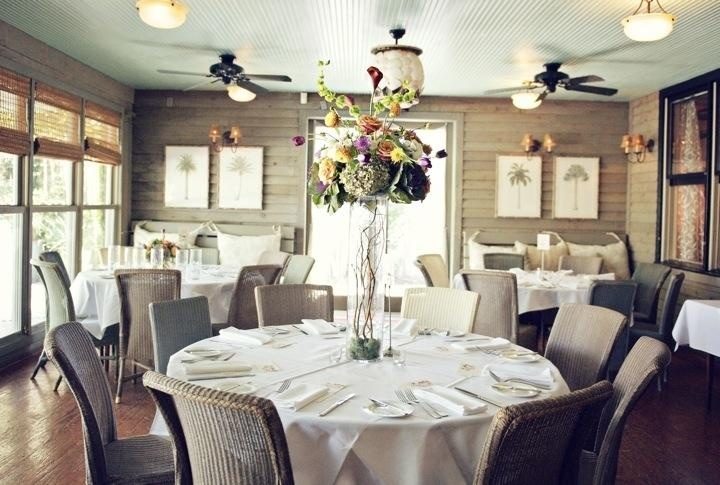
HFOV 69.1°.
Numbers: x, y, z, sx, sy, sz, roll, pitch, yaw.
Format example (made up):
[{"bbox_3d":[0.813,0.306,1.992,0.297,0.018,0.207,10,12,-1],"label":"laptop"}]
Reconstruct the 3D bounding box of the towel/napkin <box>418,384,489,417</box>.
[{"bbox_3d":[0.435,0.769,2.549,0.132,0.045,0.214,2,0,-38],"label":"towel/napkin"}]

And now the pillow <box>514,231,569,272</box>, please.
[{"bbox_3d":[2.402,0.132,6.988,0.509,0.520,0.289,0,-13,0],"label":"pillow"}]

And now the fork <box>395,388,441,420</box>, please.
[{"bbox_3d":[0.269,0.777,2.546,0.072,0.043,0.293,-2,8,-23],"label":"fork"}]

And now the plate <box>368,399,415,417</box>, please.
[{"bbox_3d":[0.139,0.788,2.488,0.219,0.045,0.134,-1,-2,9],"label":"plate"}]

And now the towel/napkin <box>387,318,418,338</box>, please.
[{"bbox_3d":[0.279,0.563,3.467,0.152,0.047,0.116,6,15,10],"label":"towel/napkin"}]

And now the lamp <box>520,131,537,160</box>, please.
[{"bbox_3d":[2.387,-1.384,7.428,0.239,0.277,0.300,-2,-4,44],"label":"lamp"}]

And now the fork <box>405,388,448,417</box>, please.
[{"bbox_3d":[0.307,0.777,2.506,0.064,0.054,0.367,-6,4,-16],"label":"fork"}]

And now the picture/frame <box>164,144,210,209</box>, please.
[{"bbox_3d":[-2.455,-0.950,7.499,0.637,0.727,0.056,-1,1,2],"label":"picture/frame"}]

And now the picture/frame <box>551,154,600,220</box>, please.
[{"bbox_3d":[3.071,-0.806,7.529,0.940,1.227,0.087,0,1,-3],"label":"picture/frame"}]

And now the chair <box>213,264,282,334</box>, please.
[{"bbox_3d":[-1.012,0.480,4.744,0.557,0.795,0.480,2,-1,36],"label":"chair"}]

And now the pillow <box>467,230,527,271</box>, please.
[{"bbox_3d":[1.822,0.106,7.143,0.637,0.608,0.610,0,-6,4],"label":"pillow"}]

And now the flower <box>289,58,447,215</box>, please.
[{"bbox_3d":[-0.009,-0.727,3.550,0.814,1.142,1.567,-1,-1,-6],"label":"flower"}]

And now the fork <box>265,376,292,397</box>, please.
[{"bbox_3d":[-0.395,0.733,2.676,0.030,0.026,0.221,11,18,30],"label":"fork"}]

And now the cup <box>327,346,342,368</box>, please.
[{"bbox_3d":[-0.135,0.656,3.001,0.083,0.106,0.057,5,16,11],"label":"cup"}]

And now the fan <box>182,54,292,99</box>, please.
[{"bbox_3d":[-1.441,-1.993,6.190,0.616,0.158,0.574,-8,-14,41],"label":"fan"}]

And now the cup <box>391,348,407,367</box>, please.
[{"bbox_3d":[0.221,0.664,3.008,0.068,0.076,0.069,-1,1,0],"label":"cup"}]

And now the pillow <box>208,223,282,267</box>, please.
[{"bbox_3d":[-1.543,0.040,6.997,0.610,0.597,0.110,1,-11,2],"label":"pillow"}]

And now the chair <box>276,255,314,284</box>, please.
[{"bbox_3d":[-0.716,0.282,5.673,0.214,0.354,0.238,10,-16,26],"label":"chair"}]

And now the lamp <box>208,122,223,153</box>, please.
[{"bbox_3d":[-1.988,-1.504,7.316,0.184,0.289,0.440,-1,-1,-16],"label":"lamp"}]

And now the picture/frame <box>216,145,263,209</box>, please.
[{"bbox_3d":[-1.689,-0.957,7.474,0.898,1.226,0.055,0,4,2],"label":"picture/frame"}]

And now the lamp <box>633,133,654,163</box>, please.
[{"bbox_3d":[3.856,-1.301,7.162,0.233,0.353,0.530,-1,-1,27],"label":"lamp"}]

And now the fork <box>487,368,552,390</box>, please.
[{"bbox_3d":[0.836,0.728,2.780,0.451,0.077,0.068,0,1,38],"label":"fork"}]

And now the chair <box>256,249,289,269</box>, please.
[{"bbox_3d":[-1.021,0.208,6.143,0.257,0.334,0.285,1,-6,-6],"label":"chair"}]
